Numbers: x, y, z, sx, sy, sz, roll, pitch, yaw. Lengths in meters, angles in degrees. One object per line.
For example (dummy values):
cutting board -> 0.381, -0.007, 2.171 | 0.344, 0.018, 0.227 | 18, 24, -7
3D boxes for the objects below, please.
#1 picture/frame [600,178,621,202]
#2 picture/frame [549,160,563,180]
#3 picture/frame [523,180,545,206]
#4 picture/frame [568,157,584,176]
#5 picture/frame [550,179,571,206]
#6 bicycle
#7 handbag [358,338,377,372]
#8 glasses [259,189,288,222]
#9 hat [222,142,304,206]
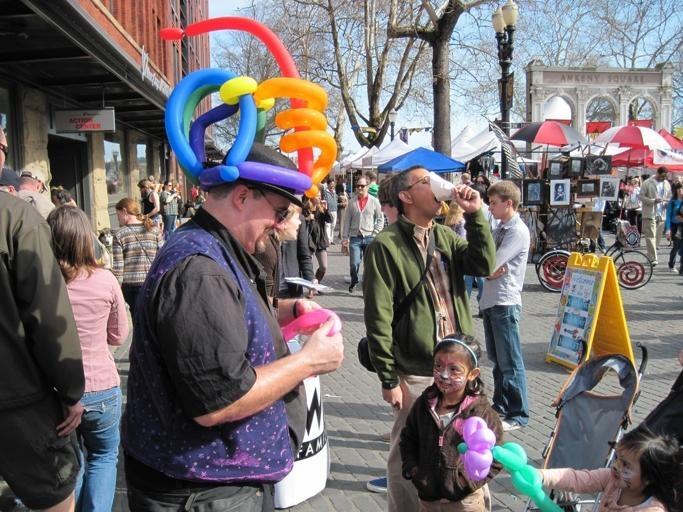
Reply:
picture/frame -> 6.417, -1.647, 15.654 | 0.418, 0.592, 0.714 | 4, 5, 22
picture/frame -> 4.803, -1.941, 14.571 | 0.349, 0.395, 0.264 | 2, 4, -7
picture/frame -> 4.061, -1.292, 13.974 | 0.575, 0.675, 0.454 | -1, 2, -19
picture/frame -> 5.346, -2.050, 14.843 | 0.396, 0.422, 0.107 | 0, 4, -22
picture/frame -> 4.665, -1.347, 13.924 | 0.460, 0.615, 0.029 | 0, -3, -2
bicycle -> 4.490, 0.048, 11.751 | 1.735, 1.210, 0.927 | -4, 15, 2
handbag -> 0.165, 0.687, 4.474 | 0.143, 0.241, 0.222 | -6, -13, -6
glasses -> -0.302, -0.220, 3.005 | 0.040, 0.140, 0.124 | -24, -17, 17
hat -> -0.361, -0.352, 3.016 | 0.311, 0.121, 0.282 | 29, -1, -16
